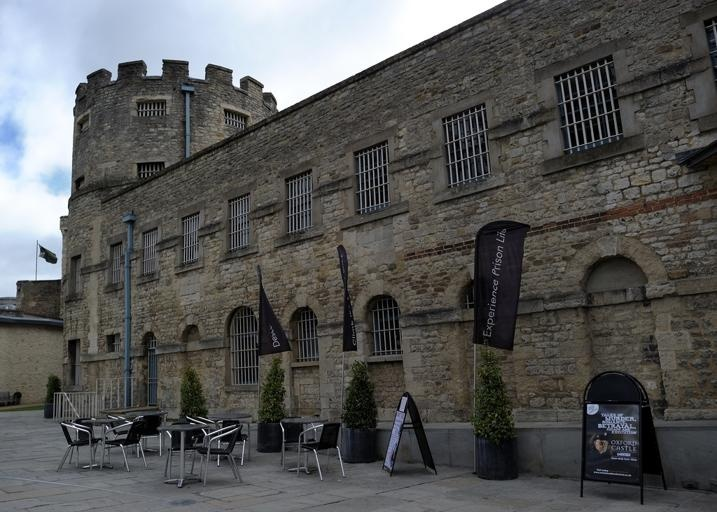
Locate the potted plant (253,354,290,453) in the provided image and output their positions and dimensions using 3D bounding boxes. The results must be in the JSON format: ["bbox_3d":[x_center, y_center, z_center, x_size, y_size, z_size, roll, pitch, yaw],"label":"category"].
[{"bbox_3d":[-2.112,3.904,16.949,1.067,2.290,1.047,10,-16,-26],"label":"potted plant"}]

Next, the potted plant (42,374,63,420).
[{"bbox_3d":[-12.127,5.638,26.009,0.581,1.550,1.886,1,-4,-24],"label":"potted plant"}]

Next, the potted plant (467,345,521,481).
[{"bbox_3d":[2.788,3.275,13.416,0.809,2.562,0.440,-2,-4,14],"label":"potted plant"}]
